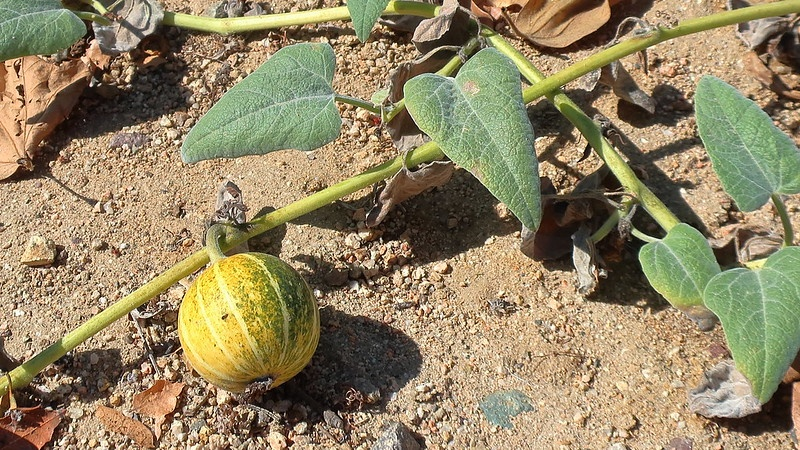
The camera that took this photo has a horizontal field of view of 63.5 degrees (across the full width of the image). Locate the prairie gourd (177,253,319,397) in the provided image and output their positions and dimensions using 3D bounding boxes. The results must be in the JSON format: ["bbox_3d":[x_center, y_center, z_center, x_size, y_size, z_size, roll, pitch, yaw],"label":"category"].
[{"bbox_3d":[-0.727,0.489,3.190,0.638,0.635,0.698,1,43,-26],"label":"prairie gourd"}]
